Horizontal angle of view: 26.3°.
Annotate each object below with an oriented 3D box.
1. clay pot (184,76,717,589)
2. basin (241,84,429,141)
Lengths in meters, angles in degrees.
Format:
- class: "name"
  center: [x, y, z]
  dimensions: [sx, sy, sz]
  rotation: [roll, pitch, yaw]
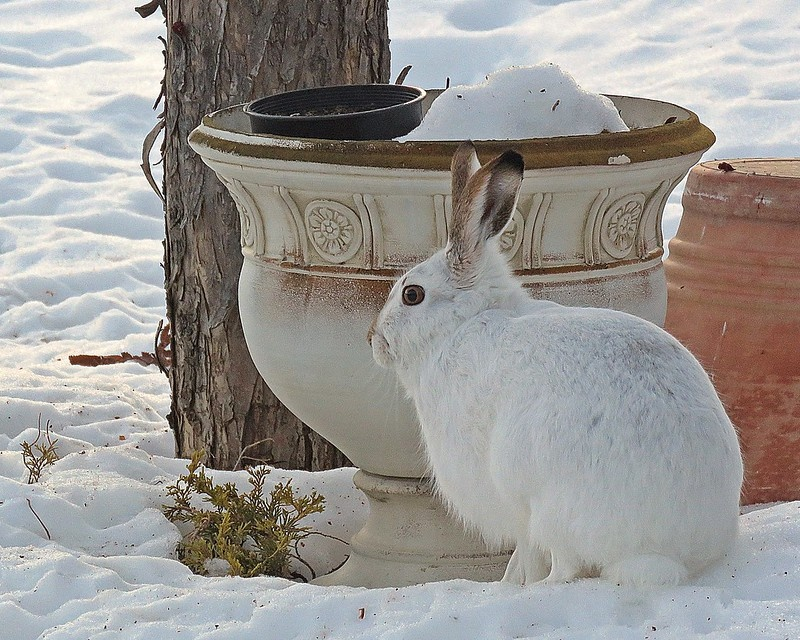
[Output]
- class: "clay pot"
  center: [0.269, -0.082, 6.723]
  dimensions: [1.638, 1.759, 1.763]
  rotation: [-1, 12, 0]
- class: "basin"
  center: [-0.254, -0.756, 6.380]
  dimensions: [0.661, 0.183, 0.690]
  rotation: [-3, 17, 1]
